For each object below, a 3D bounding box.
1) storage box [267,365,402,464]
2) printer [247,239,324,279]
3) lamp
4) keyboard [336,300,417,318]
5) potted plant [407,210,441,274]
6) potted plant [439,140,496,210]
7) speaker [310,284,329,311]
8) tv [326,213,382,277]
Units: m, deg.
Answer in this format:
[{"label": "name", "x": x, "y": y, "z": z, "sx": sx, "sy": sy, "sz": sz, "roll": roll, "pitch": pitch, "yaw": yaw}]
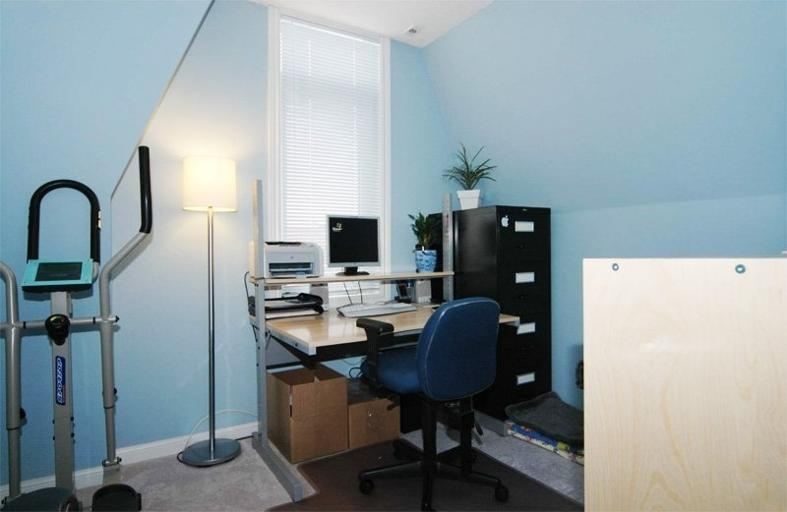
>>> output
[{"label": "storage box", "x": -0.599, "y": 1.052, "z": 4.225, "sx": 0.792, "sy": 0.451, "sz": 0.713, "roll": 1, "pitch": -2, "yaw": -30}, {"label": "printer", "x": -0.750, "y": 0.033, "z": 4.162, "sx": 0.467, "sy": 0.273, "sz": 0.120, "roll": -5, "pitch": 6, "yaw": -34}, {"label": "lamp", "x": -1.330, "y": 0.424, "z": 4.130, "sx": 0.489, "sy": 2.193, "sz": 0.480, "roll": 1, "pitch": 5, "yaw": 1}, {"label": "keyboard", "x": -0.137, "y": 0.400, "z": 4.191, "sx": 0.403, "sy": 0.055, "sz": 0.201, "roll": -2, "pitch": 4, "yaw": -22}, {"label": "potted plant", "x": 0.285, "y": -0.123, "z": 4.891, "sx": 0.283, "sy": 0.510, "sz": 0.444, "roll": -3, "pitch": 5, "yaw": -1}, {"label": "potted plant", "x": 0.675, "y": -0.654, "z": 4.927, "sx": 0.458, "sy": 0.500, "sz": 0.377, "roll": 6, "pitch": 4, "yaw": 30}, {"label": "speaker", "x": -0.584, "y": 0.324, "z": 4.407, "sx": 0.166, "sy": 0.197, "sz": 0.070, "roll": 1, "pitch": 6, "yaw": 37}, {"label": "tv", "x": -0.325, "y": -0.090, "z": 4.450, "sx": 0.534, "sy": 0.518, "sz": 0.189, "roll": 2, "pitch": -6, "yaw": -29}]
